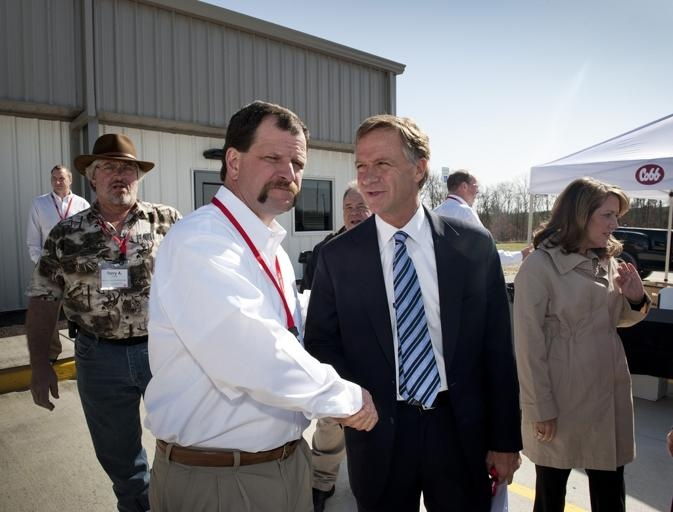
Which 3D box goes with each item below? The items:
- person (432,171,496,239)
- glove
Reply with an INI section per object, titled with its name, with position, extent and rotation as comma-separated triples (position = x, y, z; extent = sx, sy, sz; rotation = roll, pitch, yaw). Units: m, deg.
[person]
position = 1.454, -0.661, 6.490
extent = 0.442, 0.668, 0.822
rotation = 0, 8, -2
[glove]
position = -2.196, 0.718, 4.136
extent = 0.219, 0.813, 0.261
rotation = -1, 7, -28
